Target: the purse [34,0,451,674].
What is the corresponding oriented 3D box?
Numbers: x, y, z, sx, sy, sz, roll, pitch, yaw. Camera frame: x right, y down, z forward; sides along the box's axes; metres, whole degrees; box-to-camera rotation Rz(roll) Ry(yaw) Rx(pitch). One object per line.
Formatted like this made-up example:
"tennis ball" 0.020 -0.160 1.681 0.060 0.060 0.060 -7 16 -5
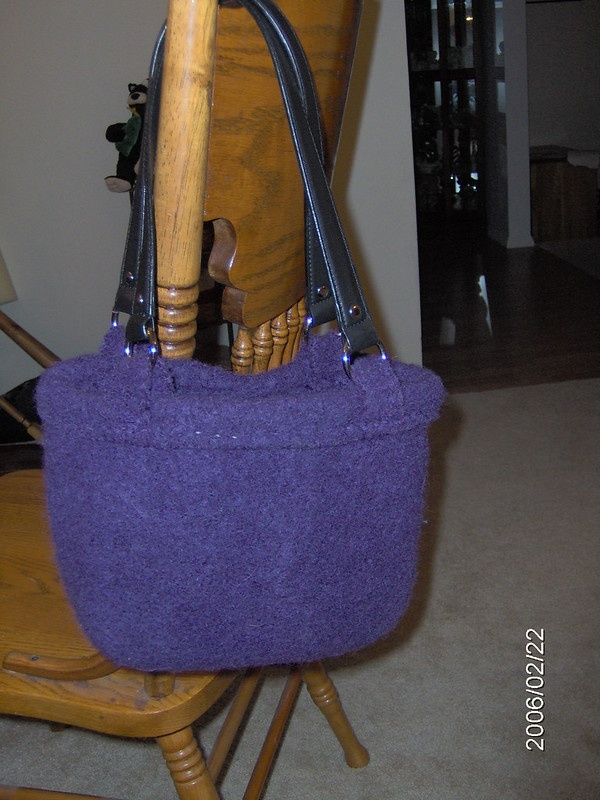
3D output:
"purse" -0.043 0.009 0.508 0.251 0.493 0.192 -10 17 -19
